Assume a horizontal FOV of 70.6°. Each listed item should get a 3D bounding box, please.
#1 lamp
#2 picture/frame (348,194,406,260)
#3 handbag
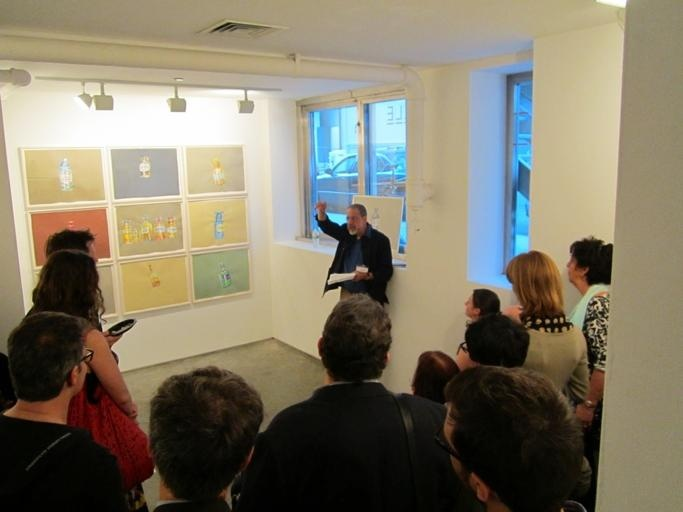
[{"bbox_3d":[-1.672,-1.555,4.869,1.682,0.305,1.252,-6,10,-22],"label":"lamp"},{"bbox_3d":[0.359,-0.260,4.680,0.056,0.611,0.577,-8,11,-35],"label":"picture/frame"},{"bbox_3d":[-1.060,0.849,2.222,0.312,0.531,0.194,-9,11,-36],"label":"handbag"}]
